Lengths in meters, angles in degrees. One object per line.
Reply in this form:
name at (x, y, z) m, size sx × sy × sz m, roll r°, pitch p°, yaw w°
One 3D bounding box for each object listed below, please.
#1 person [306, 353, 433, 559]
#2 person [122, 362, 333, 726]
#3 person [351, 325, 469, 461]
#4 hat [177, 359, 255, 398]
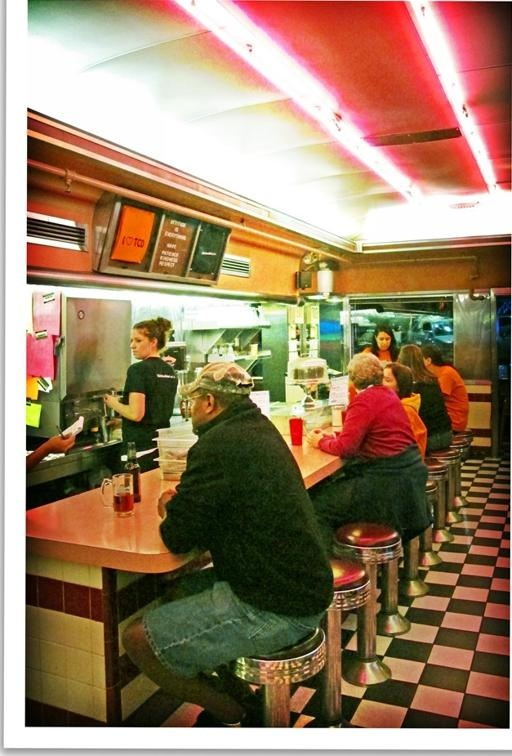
person at (0.674, 0.534, 3.314) m, size 0.710 × 1.314 × 0.519 m, roll 1°, pitch -2°, yaw 44°
person at (-0.065, 0.588, 1.849) m, size 0.657 × 1.208 × 0.547 m, roll -9°, pitch -10°, yaw 32°
person at (1.462, 0.158, 5.175) m, size 0.977 × 1.703 × 0.827 m, roll 1°, pitch -6°, yaw 17°
hat at (-0.146, 0.004, 1.907) m, size 0.186 × 0.097 × 0.128 m, roll 2°, pitch -3°, yaw 14°
